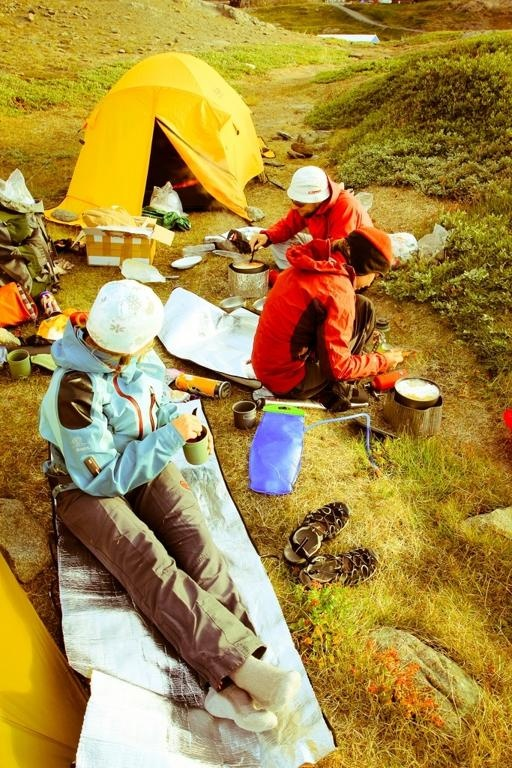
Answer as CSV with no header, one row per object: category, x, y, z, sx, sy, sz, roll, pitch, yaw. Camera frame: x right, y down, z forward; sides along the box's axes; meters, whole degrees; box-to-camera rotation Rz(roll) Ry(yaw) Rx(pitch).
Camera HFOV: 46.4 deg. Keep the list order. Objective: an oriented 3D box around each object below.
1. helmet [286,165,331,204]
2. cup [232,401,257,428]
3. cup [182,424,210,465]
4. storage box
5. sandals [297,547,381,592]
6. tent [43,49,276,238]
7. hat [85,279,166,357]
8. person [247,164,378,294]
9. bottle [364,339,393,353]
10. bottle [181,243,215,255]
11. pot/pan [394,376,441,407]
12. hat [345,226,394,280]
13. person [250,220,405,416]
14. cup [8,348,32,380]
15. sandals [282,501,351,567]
helmet,0.432,-1.578,4.769,0.333,0.270,0.257,6,32,2
cup,-0.068,0.199,3.841,0.172,0.151,0.158,-1,54,1
cup,-0.278,0.305,2.955,0.196,0.138,0.116,4,42,5
storage box,-1.297,-1.454,6.032,0.860,0.494,0.588,-1,32,-8
sandals,0.386,0.861,2.795,0.343,0.130,0.143,-10,40,-9
tent,-1.068,-2.796,7.359,2.153,1.477,2.626,2,43,0
hat,-0.524,-0.248,2.375,0.293,0.289,0.254,-6,34,-16
person,0.480,-1.279,5.105,1.050,1.089,1.064,25,31,31
bottle,0.898,-0.278,4.414,0.196,0.045,0.056,-6,42,-50
bottle,-0.607,-1.429,6.343,0.347,0.085,0.274,-4,32,-13
pot/pan,1.005,0.048,3.697,0.214,0.065,0.203,-5,30,-14
hat,0.701,-0.801,3.711,0.258,0.236,0.306,39,17,8
person,0.466,-0.407,3.889,0.936,1.240,0.955,7,26,-6
cup,-1.708,-0.132,4.312,0.133,0.144,0.133,7,54,-10
sandals,0.308,0.730,3.010,0.165,0.293,0.423,40,60,20
